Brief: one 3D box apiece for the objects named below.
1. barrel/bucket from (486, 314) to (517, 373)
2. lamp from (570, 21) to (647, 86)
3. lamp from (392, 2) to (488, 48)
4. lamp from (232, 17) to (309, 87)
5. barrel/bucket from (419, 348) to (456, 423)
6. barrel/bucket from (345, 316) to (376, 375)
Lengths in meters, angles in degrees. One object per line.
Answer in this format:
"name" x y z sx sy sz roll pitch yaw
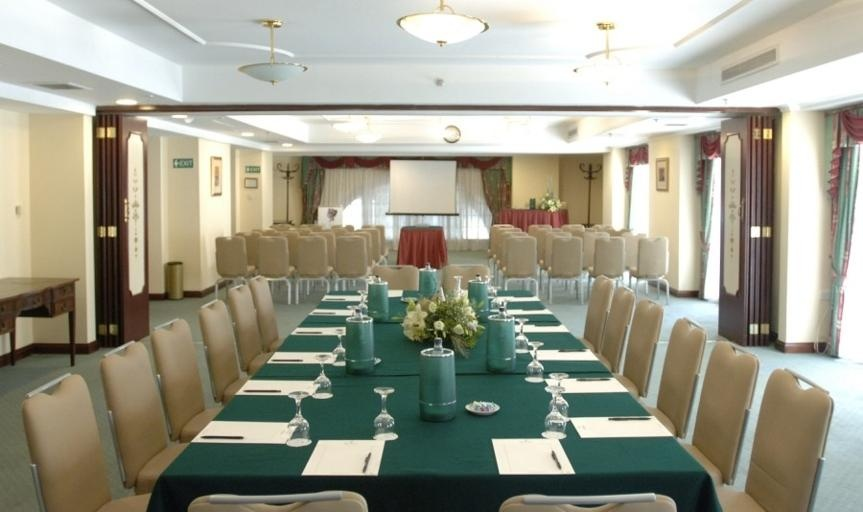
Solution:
"barrel/bucket" 0.552 0.692 4.522 0.221 0.455 0.125 0 7 4
"lamp" 2.111 -2.415 6.947 0.670 0.582 0.646 0 3 0
"lamp" 0.080 -2.347 5.740 0.654 0.459 0.661 3 3 43
"lamp" -1.784 -2.328 6.570 0.793 0.658 0.775 1 -3 -35
"barrel/bucket" 0.051 0.876 3.984 0.266 0.515 0.180 0 7 -2
"barrel/bucket" -0.571 0.695 4.535 0.221 0.453 0.162 -1 7 -10
